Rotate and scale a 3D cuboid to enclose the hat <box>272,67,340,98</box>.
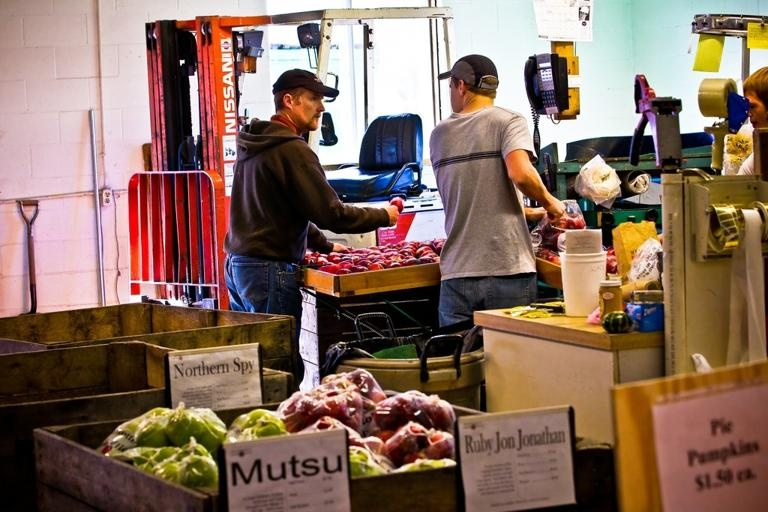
[{"bbox_3d":[-0.436,-0.965,4.379,0.282,0.114,0.181,-4,8,-10],"label":"hat"}]

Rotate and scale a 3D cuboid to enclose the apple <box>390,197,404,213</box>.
[{"bbox_3d":[0.086,-0.314,4.683,0.079,0.115,0.039,3,6,7],"label":"apple"}]

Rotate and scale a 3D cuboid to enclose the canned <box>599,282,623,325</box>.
[{"bbox_3d":[0.859,0.167,2.964,0.081,0.148,0.122,-1,6,14],"label":"canned"}]

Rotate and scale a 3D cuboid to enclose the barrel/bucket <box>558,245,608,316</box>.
[{"bbox_3d":[0.738,0.082,3.180,0.231,0.291,0.242,-2,7,0],"label":"barrel/bucket"}]

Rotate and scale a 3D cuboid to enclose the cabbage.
[{"bbox_3d":[-0.351,0.563,2.304,1.089,0.160,0.417,-1,6,10],"label":"cabbage"}]

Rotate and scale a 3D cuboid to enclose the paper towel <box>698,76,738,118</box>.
[{"bbox_3d":[1.512,-0.715,3.547,0.153,0.178,0.215,1,6,24],"label":"paper towel"}]

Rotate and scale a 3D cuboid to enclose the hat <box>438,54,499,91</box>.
[{"bbox_3d":[0.464,-0.966,4.158,0.239,0.127,0.179,17,18,37],"label":"hat"}]

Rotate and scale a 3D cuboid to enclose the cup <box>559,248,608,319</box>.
[{"bbox_3d":[0.779,0.091,3.156,0.229,0.276,0.238,-2,8,0],"label":"cup"}]

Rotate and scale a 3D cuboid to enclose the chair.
[{"bbox_3d":[-0.064,-0.946,7.440,0.838,0.800,0.960,2,2,43],"label":"chair"}]
